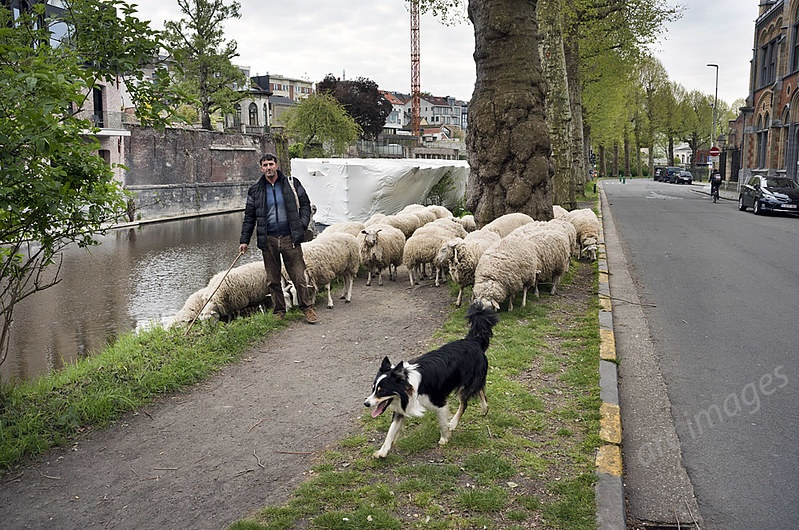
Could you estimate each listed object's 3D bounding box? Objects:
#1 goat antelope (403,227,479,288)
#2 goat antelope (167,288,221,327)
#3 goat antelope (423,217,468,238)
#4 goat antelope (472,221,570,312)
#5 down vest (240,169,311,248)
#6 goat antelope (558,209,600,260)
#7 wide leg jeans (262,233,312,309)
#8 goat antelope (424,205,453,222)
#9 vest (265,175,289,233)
[{"bbox_3d":[0.822,-0.170,12.533,1.563,1.323,0.754,4,11,23],"label":"goat antelope"},{"bbox_3d":[-4.443,0.934,11.614,0.407,0.297,0.838,24,53,19],"label":"goat antelope"},{"bbox_3d":[1.274,-1.032,14.170,1.108,0.609,0.551,-10,-11,-40],"label":"goat antelope"},{"bbox_3d":[2.301,0.075,10.070,0.802,1.279,2.725,5,23,44],"label":"goat antelope"},{"bbox_3d":[-2.341,-1.032,10.015,1.367,1.276,0.674,-5,12,-23],"label":"down vest"},{"bbox_3d":[5.277,-0.794,15.293,0.706,1.258,2.435,0,24,10],"label":"goat antelope"},{"bbox_3d":[-2.159,0.168,10.199,0.667,1.541,0.392,-12,-27,-3],"label":"wide leg jeans"},{"bbox_3d":[1.323,-1.759,17.750,0.595,0.358,0.803,22,23,18],"label":"goat antelope"},{"bbox_3d":[-2.244,-1.031,9.867,0.403,0.968,0.125,-2,10,-13],"label":"vest"}]
